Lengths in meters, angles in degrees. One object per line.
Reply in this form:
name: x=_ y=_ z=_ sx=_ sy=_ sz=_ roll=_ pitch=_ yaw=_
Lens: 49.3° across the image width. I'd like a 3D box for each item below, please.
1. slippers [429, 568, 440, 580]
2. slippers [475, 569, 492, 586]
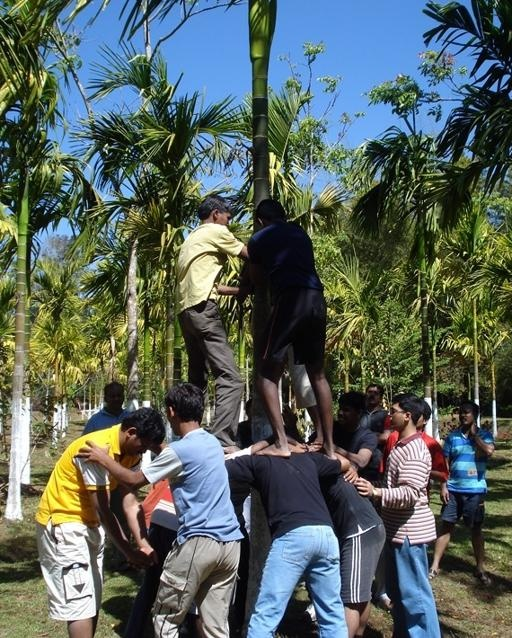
slippers: x=2.059 y=2.944 z=6.454 sx=0.080 sy=0.084 sz=0.218 roll=-14 pitch=-29 yaw=25
slippers: x=2.591 y=2.940 z=6.357 sx=0.095 sy=0.181 sz=0.194 roll=-5 pitch=-28 yaw=-2
